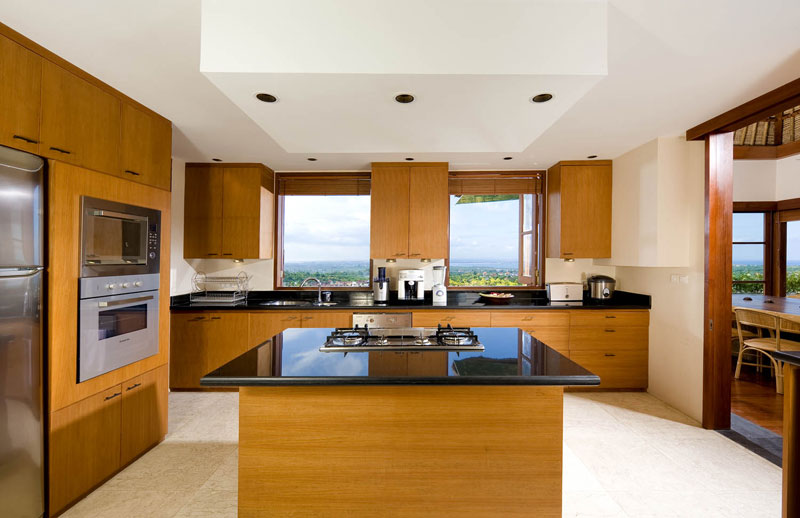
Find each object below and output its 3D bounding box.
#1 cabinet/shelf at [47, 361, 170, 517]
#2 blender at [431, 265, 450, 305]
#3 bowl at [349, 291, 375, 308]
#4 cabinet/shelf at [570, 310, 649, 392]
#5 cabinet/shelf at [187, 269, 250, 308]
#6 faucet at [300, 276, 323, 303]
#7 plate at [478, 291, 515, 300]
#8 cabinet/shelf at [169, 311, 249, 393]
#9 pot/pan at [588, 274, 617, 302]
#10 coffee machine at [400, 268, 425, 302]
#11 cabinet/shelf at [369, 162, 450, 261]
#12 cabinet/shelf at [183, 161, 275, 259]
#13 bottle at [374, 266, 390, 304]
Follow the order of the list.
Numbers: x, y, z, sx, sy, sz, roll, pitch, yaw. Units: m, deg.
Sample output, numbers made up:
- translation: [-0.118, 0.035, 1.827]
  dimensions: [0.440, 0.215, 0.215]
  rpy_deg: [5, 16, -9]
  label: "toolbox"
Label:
- translation: [-2.515, 1.559, 4.920]
  dimensions: [0.529, 0.759, 1.386]
  rpy_deg: [0, -1, 4]
  label: "cabinet/shelf"
- translation: [0.482, 0.321, 7.003]
  dimensions: [0.214, 0.409, 0.611]
  rpy_deg: [3, 9, 4]
  label: "blender"
- translation: [-0.489, 0.500, 7.184]
  dimensions: [0.294, 0.160, 0.145]
  rpy_deg: [1, 0, 6]
  label: "bowl"
- translation: [2.276, 1.061, 6.822]
  dimensions: [1.162, 0.897, 0.587]
  rpy_deg: [3, -4, -22]
  label: "cabinet/shelf"
- translation: [-2.199, 0.370, 7.062]
  dimensions: [0.701, 0.319, 0.748]
  rpy_deg: [0, 9, -14]
  label: "cabinet/shelf"
- translation: [-1.109, 0.375, 7.285]
  dimensions: [0.256, 0.282, 0.503]
  rpy_deg: [1, 9, -9]
  label: "faucet"
- translation: [1.195, 0.461, 7.116]
  dimensions: [0.429, 0.079, 0.325]
  rpy_deg: [3, 9, 5]
  label: "plate"
- translation: [-2.028, 0.934, 6.131]
  dimensions: [1.241, 0.939, 0.440]
  rpy_deg: [0, -4, -2]
  label: "cabinet/shelf"
- translation: [2.422, 0.358, 7.033]
  dimensions: [0.303, 0.233, 0.334]
  rpy_deg: [0, -5, -2]
  label: "pot/pan"
- translation: [0.126, 0.309, 7.058]
  dimensions: [0.310, 0.360, 0.310]
  rpy_deg: [2, 10, -1]
  label: "coffee machine"
- translation: [-0.035, -0.579, 7.163]
  dimensions: [1.177, 1.153, 0.502]
  rpy_deg: [-4, 8, -37]
  label: "cabinet/shelf"
- translation: [-2.119, -0.597, 6.980]
  dimensions: [1.399, 1.152, 0.702]
  rpy_deg: [0, -3, -4]
  label: "cabinet/shelf"
- translation: [-0.229, 0.312, 7.085]
  dimensions: [0.197, 0.401, 0.513]
  rpy_deg: [2, 10, -1]
  label: "bottle"
